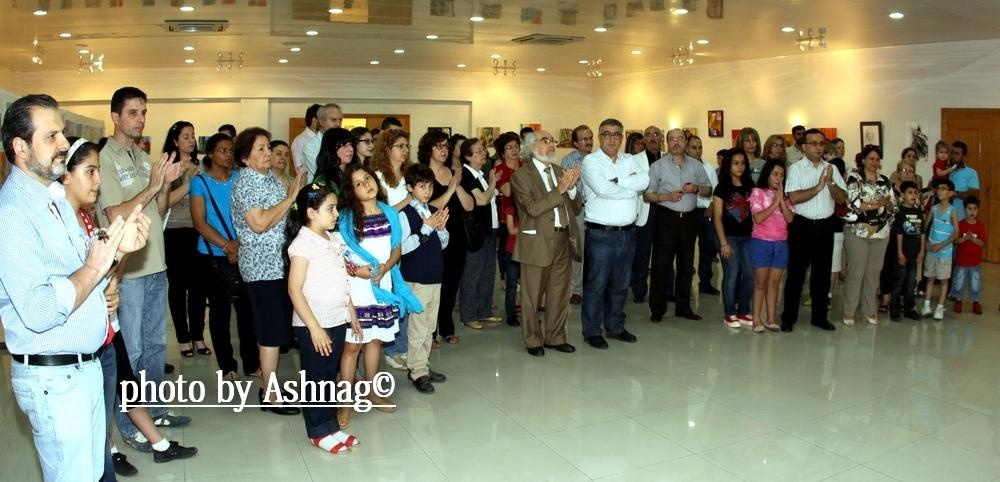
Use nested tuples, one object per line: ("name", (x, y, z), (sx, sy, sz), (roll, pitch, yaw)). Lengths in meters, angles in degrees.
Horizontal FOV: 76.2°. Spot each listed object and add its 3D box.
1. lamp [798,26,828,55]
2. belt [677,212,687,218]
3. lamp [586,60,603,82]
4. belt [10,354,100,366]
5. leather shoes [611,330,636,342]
("lamp", (6.683, -4.317, 13.602), (0.656, 0.167, 0.437), (-1, 0, 17))
("belt", (2.778, -0.381, 9.665), (0.103, 0.081, 0.026), (1, 19, -4))
("lamp", (2.545, -4.572, 17.152), (0.621, 0.605, 0.553), (2, 5, 7))
("belt", (-4.010, 1.068, 5.736), (0.296, 0.055, 0.262), (0, 0, -9))
("leather shoes", (1.811, 1.393, 9.310), (0.345, 0.110, 0.160), (0, 2, 18))
